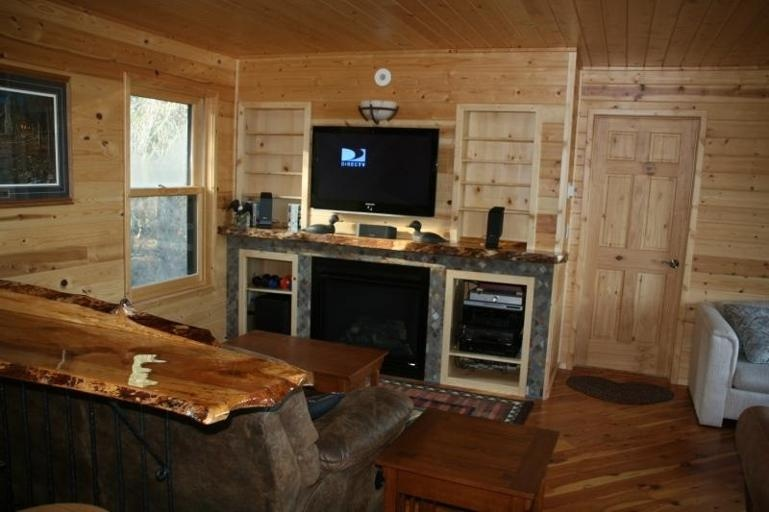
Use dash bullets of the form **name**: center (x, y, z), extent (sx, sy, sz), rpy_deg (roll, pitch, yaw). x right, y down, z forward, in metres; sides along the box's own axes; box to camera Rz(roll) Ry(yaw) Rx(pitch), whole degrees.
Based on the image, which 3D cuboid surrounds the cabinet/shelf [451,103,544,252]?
- **cabinet/shelf**: center (1.065, -0.771, 5.569), extent (0.826, 1.308, 0.372), rpy_deg (4, 8, 6)

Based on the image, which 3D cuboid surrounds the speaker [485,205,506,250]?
- **speaker**: center (1.040, -0.278, 5.510), extent (0.157, 0.344, 0.402), rpy_deg (9, 22, 13)

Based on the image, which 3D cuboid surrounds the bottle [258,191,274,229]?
- **bottle**: center (-1.219, -0.501, 6.178), extent (0.183, 0.334, 0.133), rpy_deg (7, 7, 30)

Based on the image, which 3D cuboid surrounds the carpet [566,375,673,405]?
- **carpet**: center (2.332, 1.338, 5.778), extent (0.977, 0.059, 0.688), rpy_deg (5, 6, 22)

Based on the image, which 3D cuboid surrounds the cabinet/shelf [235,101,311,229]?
- **cabinet/shelf**: center (-1.148, -0.989, 6.283), extent (0.883, 1.299, 0.304), rpy_deg (6, 8, 19)

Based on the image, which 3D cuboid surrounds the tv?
- **tv**: center (-0.096, -0.868, 5.911), extent (1.622, 0.869, 0.148), rpy_deg (9, 15, 36)

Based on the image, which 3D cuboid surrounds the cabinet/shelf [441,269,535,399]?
- **cabinet/shelf**: center (1.118, 0.745, 5.758), extent (0.926, 1.001, 0.592), rpy_deg (5, 2, 28)
